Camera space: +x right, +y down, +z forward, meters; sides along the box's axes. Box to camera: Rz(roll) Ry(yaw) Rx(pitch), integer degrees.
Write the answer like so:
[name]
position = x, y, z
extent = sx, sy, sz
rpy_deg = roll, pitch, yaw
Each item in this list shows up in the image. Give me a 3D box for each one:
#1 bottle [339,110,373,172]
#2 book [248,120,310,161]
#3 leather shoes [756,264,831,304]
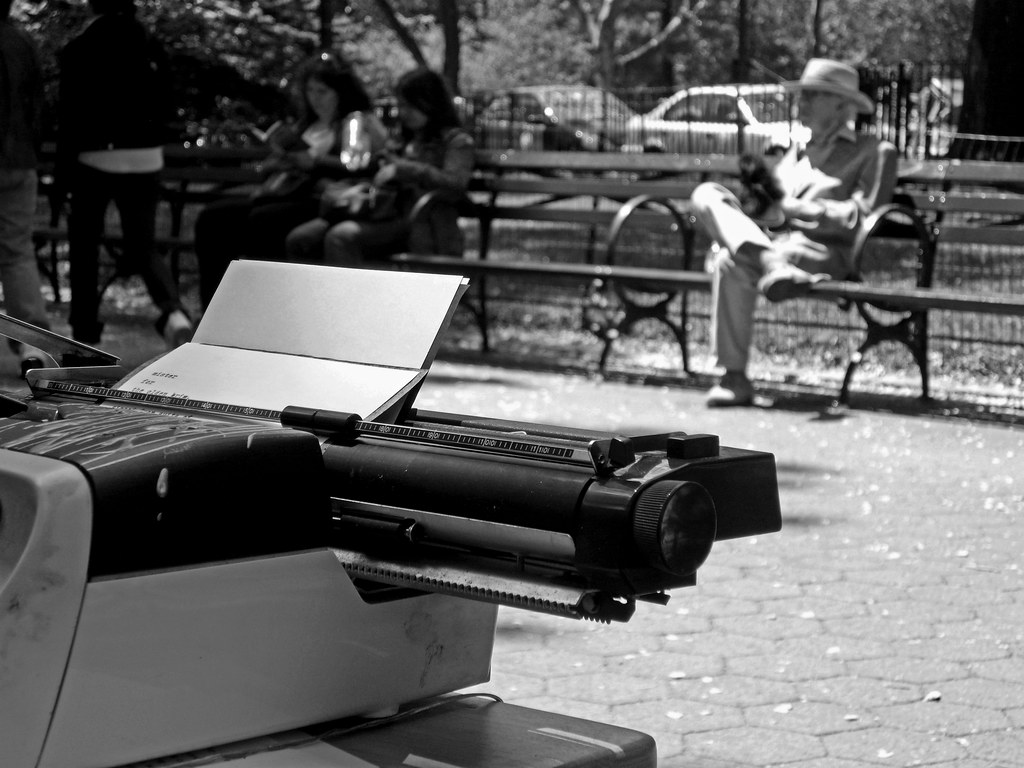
[bottle]
position = -1.228, -1.865, 9.374
extent = 0.230, 0.455, 0.149
rpy_deg = -4, -5, 19
[book]
position = -1.889, -1.993, 9.809
extent = 0.182, 0.188, 0.331
rpy_deg = 26, 8, -40
[leather shoes]
position = 1.742, -0.634, 7.626
extent = 0.345, 0.095, 0.223
rpy_deg = -1, 46, 19
